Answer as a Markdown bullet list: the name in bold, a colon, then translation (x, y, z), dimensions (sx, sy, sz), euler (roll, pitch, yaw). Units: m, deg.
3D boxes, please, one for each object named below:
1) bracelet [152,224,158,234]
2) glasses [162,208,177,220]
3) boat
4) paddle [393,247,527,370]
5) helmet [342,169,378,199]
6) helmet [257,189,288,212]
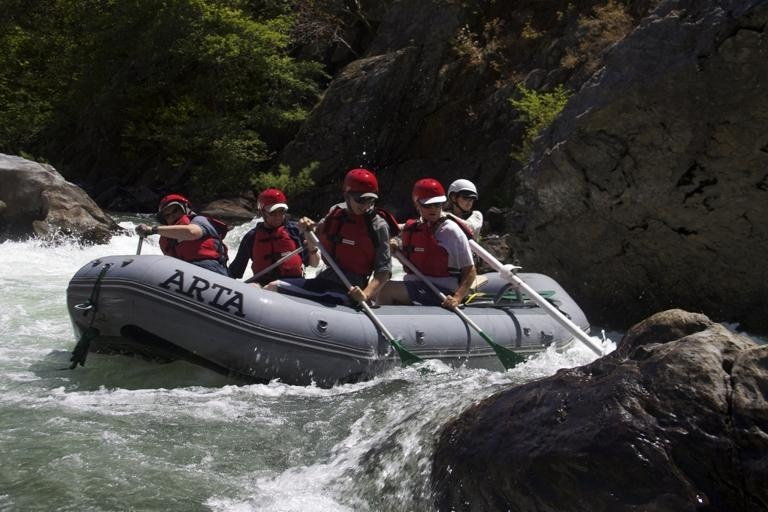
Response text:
- **bracelet**: translation (-2.783, -0.325, 9.294), dimensions (0.066, 0.067, 0.148), euler (15, 4, -14)
- **glasses**: translation (-2.746, -0.558, 9.760), dimensions (0.126, 0.165, 0.048), euler (42, 39, -20)
- **boat**: translation (-0.561, 0.992, 9.366), dimensions (4.870, 1.130, 2.464), euler (13, -3, -31)
- **paddle**: translation (0.964, 0.724, 9.763), dimensions (2.129, 0.394, 0.167), euler (41, 35, 10)
- **helmet**: translation (-0.272, -0.910, 9.542), dimensions (0.324, 0.331, 0.422), euler (17, 29, -21)
- **helmet**: translation (-1.555, -0.762, 10.186), dimensions (0.399, 0.203, 0.268), euler (8, 7, 44)
